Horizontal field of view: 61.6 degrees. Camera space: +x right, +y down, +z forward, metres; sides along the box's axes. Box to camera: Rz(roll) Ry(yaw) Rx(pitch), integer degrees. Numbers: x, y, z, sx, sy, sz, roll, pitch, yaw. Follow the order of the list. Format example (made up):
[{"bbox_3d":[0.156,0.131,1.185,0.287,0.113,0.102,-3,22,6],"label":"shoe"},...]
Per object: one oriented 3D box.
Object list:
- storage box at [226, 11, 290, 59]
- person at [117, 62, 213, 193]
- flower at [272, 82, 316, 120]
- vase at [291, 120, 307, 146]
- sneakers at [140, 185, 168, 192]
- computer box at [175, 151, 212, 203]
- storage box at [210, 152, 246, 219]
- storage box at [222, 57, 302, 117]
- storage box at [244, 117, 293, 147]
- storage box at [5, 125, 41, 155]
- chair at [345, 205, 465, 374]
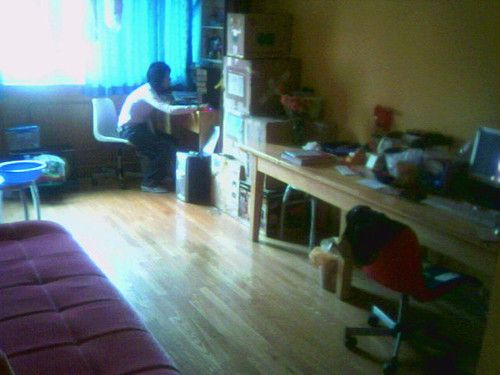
[{"bbox_3d":[0.096,-1.598,4.436,0.660,0.403,0.354,-16,28,-34],"label":"storage box"},{"bbox_3d":[-1.157,-0.730,5.146,0.989,1.550,0.551,15,24,33],"label":"person"},{"bbox_3d":[0.417,-0.828,4.072,0.424,0.253,0.401,3,10,11],"label":"flower"},{"bbox_3d":[0.450,-0.525,3.919,0.144,0.232,0.145,9,21,20],"label":"vase"},{"bbox_3d":[-1.197,0.020,5.221,0.274,0.103,0.101,1,6,8],"label":"sneakers"},{"bbox_3d":[-0.834,-0.133,5.088,0.614,0.689,0.512,0,11,-16],"label":"computer box"},{"bbox_3d":[-0.370,-0.001,4.636,0.240,0.595,0.683,-7,-17,22],"label":"storage box"},{"bbox_3d":[0.185,-1.066,4.514,0.763,0.520,0.737,-8,13,-41],"label":"storage box"},{"bbox_3d":[0.185,-0.604,4.021,0.322,0.201,0.442,-5,12,-30],"label":"storage box"},{"bbox_3d":[-2.678,-0.552,4.948,0.362,0.302,0.191,-9,12,-40],"label":"storage box"},{"bbox_3d":[0.948,0.641,2.560,0.672,0.865,0.733,-17,25,-30],"label":"chair"}]
